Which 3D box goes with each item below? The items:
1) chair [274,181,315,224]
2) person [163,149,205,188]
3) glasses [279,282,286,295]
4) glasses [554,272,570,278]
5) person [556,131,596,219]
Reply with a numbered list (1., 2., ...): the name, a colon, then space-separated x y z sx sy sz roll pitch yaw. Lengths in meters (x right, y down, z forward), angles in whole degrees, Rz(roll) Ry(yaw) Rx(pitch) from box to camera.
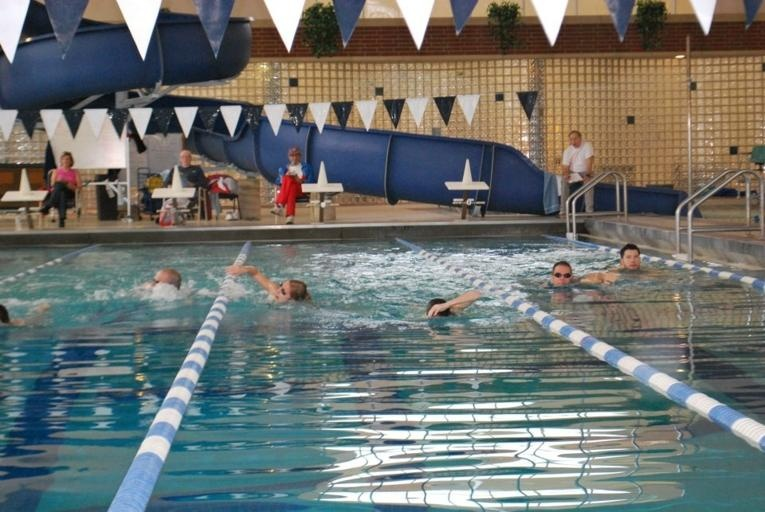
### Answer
1. chair: -1.480 -0.878 11.156 0.465 0.756 0.392 4 -14 -17
2. person: -3.218 -1.487 11.690 0.462 0.646 0.910 -4 9 -14
3. glasses: -0.821 0.259 5.619 0.051 0.090 0.073 -3 10 -7
4. glasses: 1.607 0.165 6.254 0.132 0.047 0.035 1 10 15
5. person: 3.069 -1.320 11.004 0.514 1.353 0.902 1 10 16
